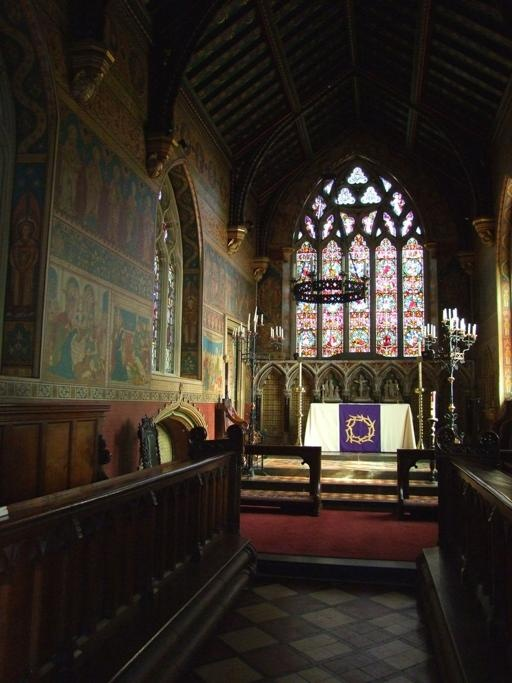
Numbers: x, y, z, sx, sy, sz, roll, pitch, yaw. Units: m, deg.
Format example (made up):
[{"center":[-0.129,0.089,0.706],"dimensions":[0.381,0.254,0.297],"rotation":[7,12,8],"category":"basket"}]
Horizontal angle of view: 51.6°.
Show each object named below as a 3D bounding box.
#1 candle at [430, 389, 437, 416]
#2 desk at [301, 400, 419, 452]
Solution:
[{"center":[2.717,0.963,8.186],"dimensions":[0.055,0.379,0.596],"rotation":[-1,-4,21],"category":"candle"},{"center":[2.121,1.814,11.129],"dimensions":[2.160,0.992,0.417],"rotation":[0,-4,9],"category":"desk"}]
